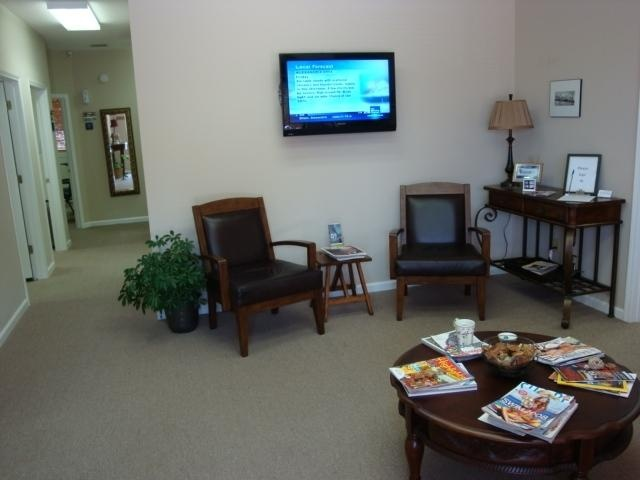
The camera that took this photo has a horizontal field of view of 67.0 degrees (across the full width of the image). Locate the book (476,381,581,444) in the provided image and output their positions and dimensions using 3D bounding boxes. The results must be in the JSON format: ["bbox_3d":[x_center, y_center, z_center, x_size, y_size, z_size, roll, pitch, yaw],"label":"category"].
[{"bbox_3d":[0.944,0.773,2.189,0.296,0.086,0.386,9,18,44],"label":"book"}]

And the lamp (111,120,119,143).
[{"bbox_3d":[-3.595,-1.905,8.479,0.132,0.405,0.032,-13,15,-36],"label":"lamp"}]

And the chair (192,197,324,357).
[{"bbox_3d":[-0.508,0.225,4.067,0.871,1.098,0.865,-10,14,-26],"label":"chair"}]

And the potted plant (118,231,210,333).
[{"bbox_3d":[-1.312,0.373,4.052,0.643,0.847,0.648,-9,14,-23],"label":"potted plant"}]

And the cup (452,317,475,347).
[{"bbox_3d":[0.808,0.514,2.765,0.101,0.148,0.152,-2,5,2],"label":"cup"}]

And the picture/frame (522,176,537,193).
[{"bbox_3d":[1.873,-0.505,4.357,0.144,0.148,0.150,-1,14,-2],"label":"picture/frame"}]

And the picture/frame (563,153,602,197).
[{"bbox_3d":[2.232,-0.545,4.090,0.044,0.458,0.341,3,4,-36],"label":"picture/frame"}]

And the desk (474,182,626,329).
[{"bbox_3d":[2.035,0.053,4.414,0.531,1.050,1.341,-6,13,-9],"label":"desk"}]

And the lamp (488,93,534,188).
[{"bbox_3d":[1.856,-0.984,4.707,0.408,0.847,0.503,2,13,23],"label":"lamp"}]
